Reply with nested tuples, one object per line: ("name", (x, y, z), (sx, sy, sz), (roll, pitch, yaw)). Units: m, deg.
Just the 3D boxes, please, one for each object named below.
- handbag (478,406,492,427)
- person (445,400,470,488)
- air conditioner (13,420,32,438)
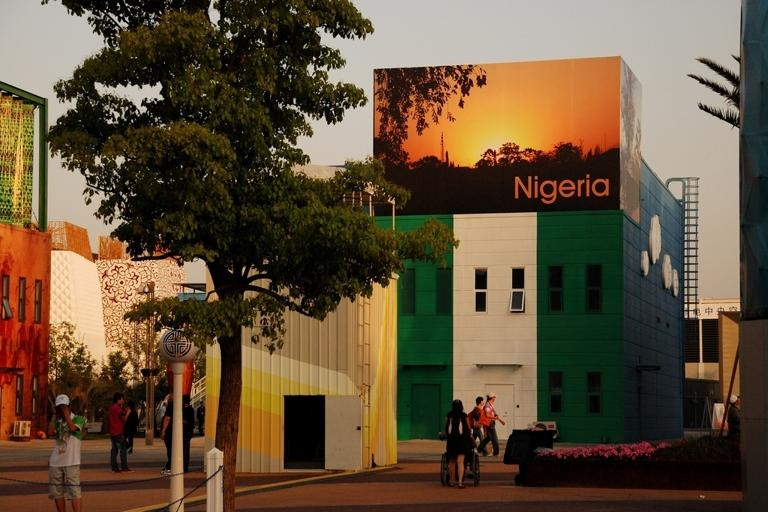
("handbag", (4.018, 6.261, 59.167), (0.485, 0.924, 1.721), (-2, -11, 4))
("person", (2.493, 6.317, 50.403), (0.766, 2.906, 1.476), (-1, -10, 2))
("air conditioner", (-18.303, 8.716, 75.912), (0.868, 1.054, 0.763), (2, -1, 7))
